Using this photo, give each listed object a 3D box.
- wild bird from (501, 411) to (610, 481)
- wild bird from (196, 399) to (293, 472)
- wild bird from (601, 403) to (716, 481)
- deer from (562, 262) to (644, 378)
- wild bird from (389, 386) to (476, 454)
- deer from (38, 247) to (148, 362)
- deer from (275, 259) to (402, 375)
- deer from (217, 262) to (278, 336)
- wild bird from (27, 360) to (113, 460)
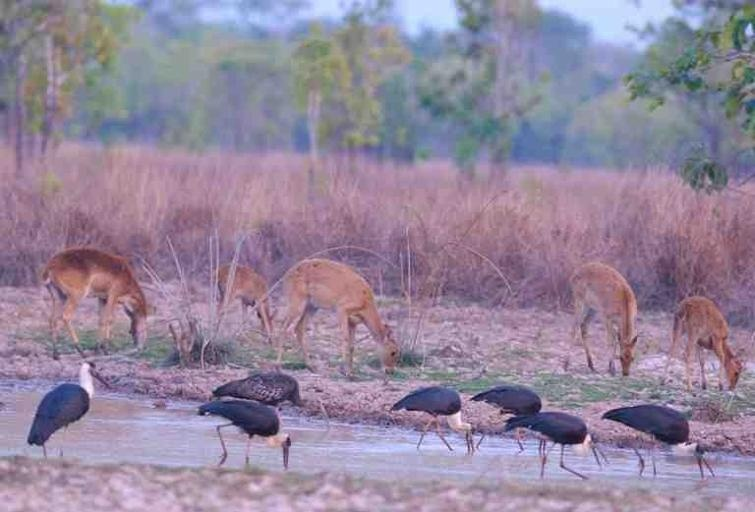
[{"bbox_3d":[2.176,2.297,16.226,1.156,0.818,0.391,2,9,4],"label":"wild bird"},{"bbox_3d":[-1.638,2.157,16.279,1.173,0.867,0.398,7,9,6],"label":"wild bird"},{"bbox_3d":[3.505,2.273,16.430,1.394,0.847,0.835,3,-5,3],"label":"wild bird"},{"bbox_3d":[3.259,0.895,18.943,0.947,1.606,1.573,2,-5,9],"label":"deer"},{"bbox_3d":[0.708,2.041,16.702,1.041,0.853,0.344,7,7,10],"label":"wild bird"},{"bbox_3d":[-4.116,0.659,18.953,1.524,1.481,0.554,4,-5,-20],"label":"deer"},{"bbox_3d":[-0.639,0.863,18.887,1.395,1.814,2.467,4,-10,-2],"label":"deer"},{"bbox_3d":[-1.982,0.648,19.394,0.898,1.077,1.116,3,-5,-7],"label":"deer"},{"bbox_3d":[-3.996,1.891,16.602,0.775,1.206,1.193,4,-5,-12],"label":"wild bird"}]
